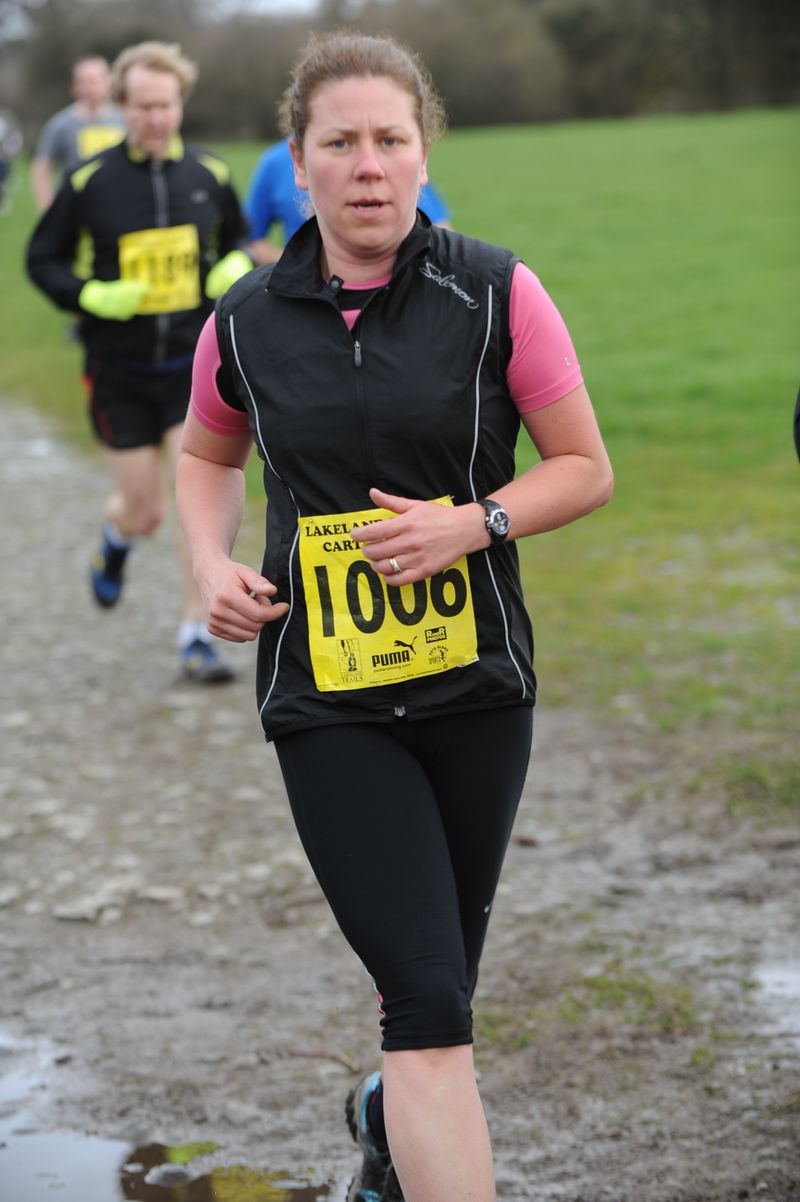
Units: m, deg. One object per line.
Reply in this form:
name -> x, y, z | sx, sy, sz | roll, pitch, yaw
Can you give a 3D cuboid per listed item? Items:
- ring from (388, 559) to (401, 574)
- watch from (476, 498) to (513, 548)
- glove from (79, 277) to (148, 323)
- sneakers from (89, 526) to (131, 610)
ring -> -0.008, -0.048, 1.965 | 0.016, 0.026, 0.015 | -2, 18, 1
watch -> 0.138, -0.113, 1.984 | 0.045, 0.066, 0.062 | -24, 9, -11
glove -> -1.043, -1.097, 5.046 | 0.228, 0.147, 0.149 | 0, 18, 6
sneakers -> -1.122, -0.124, 5.347 | 0.135, 0.253, 0.365 | 5, 46, -7
